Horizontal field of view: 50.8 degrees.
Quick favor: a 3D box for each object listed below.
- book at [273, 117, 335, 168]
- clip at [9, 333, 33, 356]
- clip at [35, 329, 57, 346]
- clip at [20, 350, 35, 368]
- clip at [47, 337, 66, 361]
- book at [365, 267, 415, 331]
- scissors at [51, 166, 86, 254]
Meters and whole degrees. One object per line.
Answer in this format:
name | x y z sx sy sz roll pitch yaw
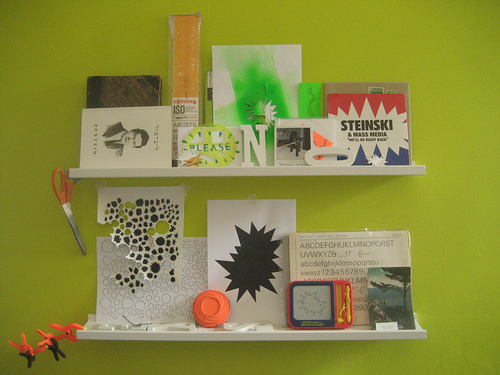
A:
book | 0.212 -0.169 2.030 0.177 0.020 0.169 -1 75 -1
clip | -0.878 0.615 2.028 0.081 0.092 0.025 -10 41 -5
clip | -0.790 0.583 2.038 0.065 0.064 0.021 48 10 -2
clip | -0.854 0.660 2.018 0.043 0.014 0.062 -6 86 8
clip | -0.746 0.628 2.032 0.067 0.025 0.086 -41 98 -16
book | 0.532 0.432 2.009 0.207 0.013 0.303 -2 82 -1
scissors | -0.678 0.082 2.093 0.030 0.324 0.165 -17 8 -6
